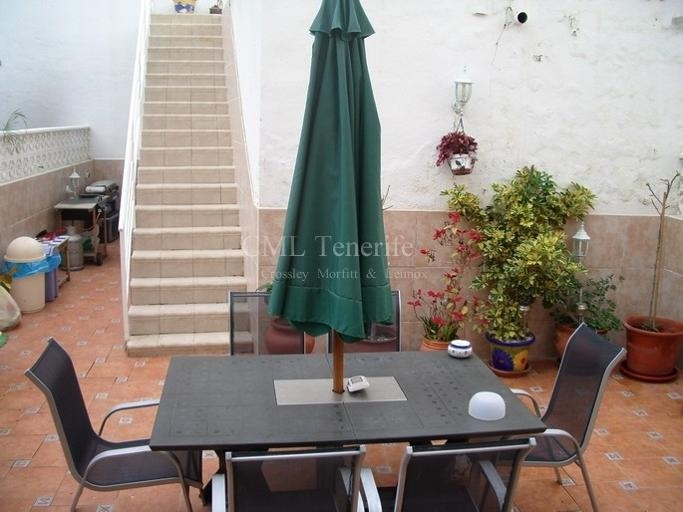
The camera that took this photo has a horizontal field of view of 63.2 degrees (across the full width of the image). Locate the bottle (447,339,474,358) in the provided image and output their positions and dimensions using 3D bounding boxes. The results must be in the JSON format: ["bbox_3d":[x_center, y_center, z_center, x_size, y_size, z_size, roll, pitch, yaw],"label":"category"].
[{"bbox_3d":[0.853,0.656,3.915,0.138,0.070,0.138,0,3,0],"label":"bottle"}]

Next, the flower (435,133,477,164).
[{"bbox_3d":[1.160,-1.104,5.459,0.398,0.226,0.384,-7,5,-39],"label":"flower"}]

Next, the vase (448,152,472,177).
[{"bbox_3d":[1.156,-0.888,5.389,0.192,0.124,0.193,5,0,-39],"label":"vase"}]

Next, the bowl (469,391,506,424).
[{"bbox_3d":[0.848,0.871,3.211,0.192,0.116,0.175,1,16,0],"label":"bowl"}]

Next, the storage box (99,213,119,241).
[{"bbox_3d":[-3.899,-0.493,9.321,0.265,0.323,0.458,-2,16,-11],"label":"storage box"}]
